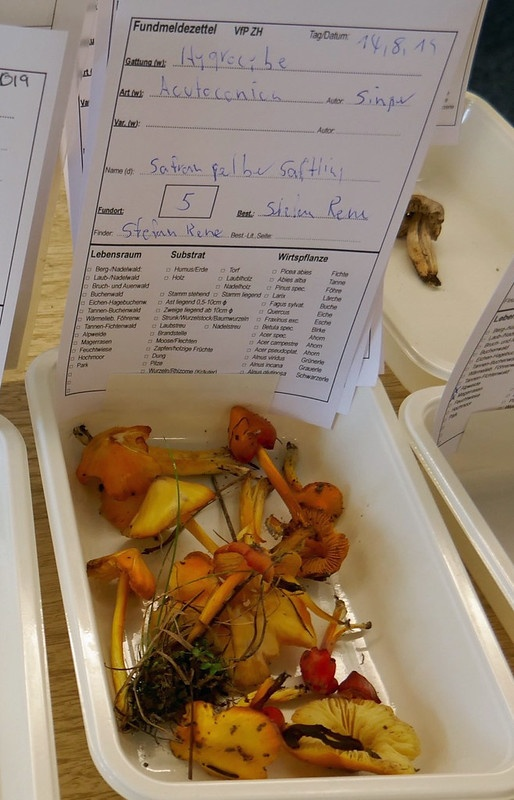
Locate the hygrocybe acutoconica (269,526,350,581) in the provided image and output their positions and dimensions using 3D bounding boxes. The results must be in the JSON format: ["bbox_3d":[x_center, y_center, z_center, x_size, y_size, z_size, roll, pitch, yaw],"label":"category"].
[{"bbox_3d":[0.043,0.111,0.478,0.048,0.019,0.047,-3,42,0],"label":"hygrocybe acutoconica"}]

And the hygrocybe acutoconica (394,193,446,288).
[{"bbox_3d":[0.240,-0.225,0.926,0.065,0.057,0.130,1,58,3],"label":"hygrocybe acutoconica"}]

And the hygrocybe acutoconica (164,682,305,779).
[{"bbox_3d":[-0.015,0.184,0.356,0.056,0.021,0.048,4,83,-4],"label":"hygrocybe acutoconica"}]

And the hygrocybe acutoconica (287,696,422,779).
[{"bbox_3d":[0.061,0.196,0.383,0.052,0.019,0.048,10,22,-13],"label":"hygrocybe acutoconica"}]

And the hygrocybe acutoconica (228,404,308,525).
[{"bbox_3d":[0.011,0.058,0.555,0.041,0.039,0.121,-16,46,-18],"label":"hygrocybe acutoconica"}]

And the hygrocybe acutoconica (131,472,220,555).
[{"bbox_3d":[-0.064,0.080,0.496,0.076,0.080,0.043,-24,93,-10],"label":"hygrocybe acutoconica"}]

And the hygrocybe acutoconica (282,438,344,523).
[{"bbox_3d":[0.041,0.069,0.556,0.043,0.020,0.065,-8,84,17],"label":"hygrocybe acutoconica"}]
